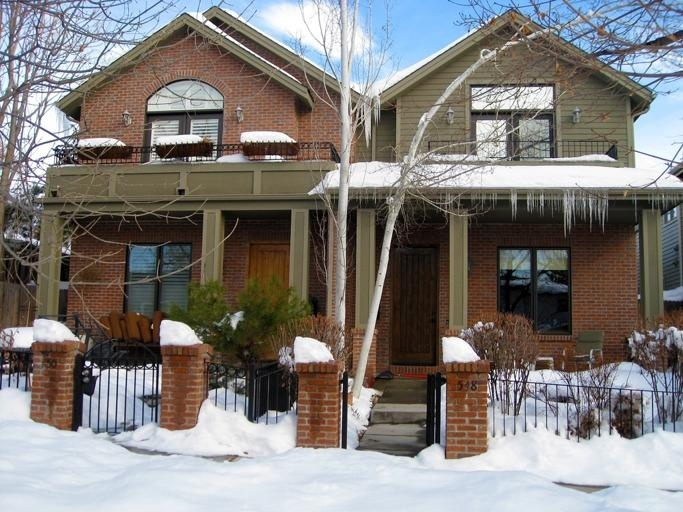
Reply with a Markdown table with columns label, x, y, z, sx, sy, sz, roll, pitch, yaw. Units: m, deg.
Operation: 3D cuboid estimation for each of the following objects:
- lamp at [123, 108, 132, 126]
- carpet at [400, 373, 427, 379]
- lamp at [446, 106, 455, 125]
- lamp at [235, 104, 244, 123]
| label | x | y | z | sx | sy | sz | roll | pitch | yaw |
| --- | --- | --- | --- | --- | --- | --- | --- | --- | --- |
| lamp | -5.307 | -3.393 | 18.680 | 0.221 | 0.405 | 0.120 | -1 | -9 | 7 |
| carpet | 1.560 | 2.560 | 16.174 | 0.478 | 0.150 | 1.689 | -1 | -9 | 4 |
| lamp | 2.595 | -3.373 | 18.172 | 0.205 | 0.401 | 0.457 | -2 | -9 | 15 |
| lamp | -2.474 | -3.436 | 18.237 | 0.198 | 0.473 | 0.233 | 0 | -9 | 3 |
